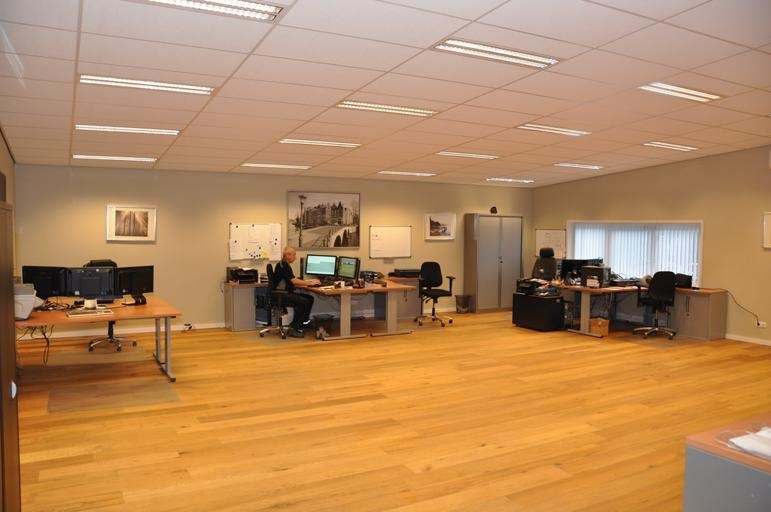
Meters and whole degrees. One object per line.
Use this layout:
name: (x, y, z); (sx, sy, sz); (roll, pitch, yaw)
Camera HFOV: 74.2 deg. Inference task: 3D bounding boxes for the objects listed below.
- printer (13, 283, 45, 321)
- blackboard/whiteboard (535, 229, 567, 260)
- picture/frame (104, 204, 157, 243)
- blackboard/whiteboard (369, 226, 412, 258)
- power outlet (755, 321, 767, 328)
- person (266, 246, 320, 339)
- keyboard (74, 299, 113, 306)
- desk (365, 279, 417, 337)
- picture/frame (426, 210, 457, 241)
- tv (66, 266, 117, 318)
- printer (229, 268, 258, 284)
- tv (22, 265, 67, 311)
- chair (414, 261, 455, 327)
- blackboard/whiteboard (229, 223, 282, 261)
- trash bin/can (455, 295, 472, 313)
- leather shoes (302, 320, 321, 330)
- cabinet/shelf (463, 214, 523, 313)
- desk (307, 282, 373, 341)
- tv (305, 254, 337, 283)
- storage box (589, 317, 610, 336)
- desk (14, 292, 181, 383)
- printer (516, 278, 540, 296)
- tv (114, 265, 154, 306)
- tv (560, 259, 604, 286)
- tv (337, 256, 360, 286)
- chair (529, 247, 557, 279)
printer: (-4.225, 0.534, 5.986); (0.194, 0.393, 0.361); (-5, 11, -27)
blackboard/whiteboard: (3.867, -0.292, 11.808); (0.033, 0.715, 0.857); (8, -7, -30)
picture/frame: (-4.566, -0.585, 9.209); (1.047, 0.651, 0.068); (2, 3, 15)
blackboard/whiteboard: (0.101, -0.315, 11.222); (1.329, 0.712, 0.050); (-1, 2, -44)
power outlet: (6.268, 1.127, 8.512); (0.105, 0.100, 0.182); (-4, 5, -40)
person: (-1.660, 0.637, 9.096); (0.816, 1.557, 0.509); (-1, 10, -10)
keyboard: (-4.162, 0.666, 7.407); (0.230, 0.045, 0.237); (0, -1, 25)
desk: (0.211, 0.958, 9.758); (1.054, 0.703, 1.692); (1, -1, -20)
picture/frame: (1.247, -0.709, 11.683); (0.949, 0.589, 0.084); (1, -1, -24)
tv: (-4.008, 0.462, 6.934); (0.809, 0.689, 0.741); (0, 4, -25)
printer: (-2.697, 0.368, 9.551); (0.326, 0.160, 0.406); (1, 1, -31)
tv: (-4.733, 0.384, 7.088); (0.753, 0.482, 0.111); (3, 10, 13)
chair: (1.031, 0.753, 10.786); (0.810, 1.270, 1.741); (1, 9, 6)
blackboard/whiteboard: (-2.554, -0.287, 10.062); (0.073, 0.755, 1.262); (1, 2, 39)
trash bin/can: (1.785, 1.089, 11.649); (0.474, 0.361, 0.405); (1, -4, -8)
leather shoes: (-1.382, 1.275, 9.514); (0.338, 0.113, 0.360); (0, -5, -9)
cabinet/shelf: (2.543, 0.136, 11.834); (1.407, 2.208, 0.508); (-4, 12, -26)
desk: (-0.825, 0.923, 9.285); (1.062, 0.708, 1.748); (1, 0, -24)
tv: (-1.245, 0.237, 9.918); (0.685, 0.369, 0.248); (-1, -9, 26)
storage box: (3.940, 1.291, 9.438); (0.368, 0.337, 0.329); (-3, 6, -34)
desk: (-3.667, 0.803, 6.826); (2.326, 0.838, 1.439); (0, 1, -32)
printer: (2.786, 0.595, 9.949); (0.357, 0.179, 0.347); (-8, 9, -32)
tv: (-3.749, 0.441, 7.651); (0.255, 0.561, 0.741); (8, 5, 18)
tv: (3.941, 0.259, 10.238); (0.584, 0.505, 0.914); (-1, 2, -3)
tv: (-0.709, 0.290, 9.666); (0.641, 0.505, 0.241); (-1, -7, 39)
chair: (3.305, 0.156, 10.546); (0.447, 0.634, 0.464); (5, 10, 23)
